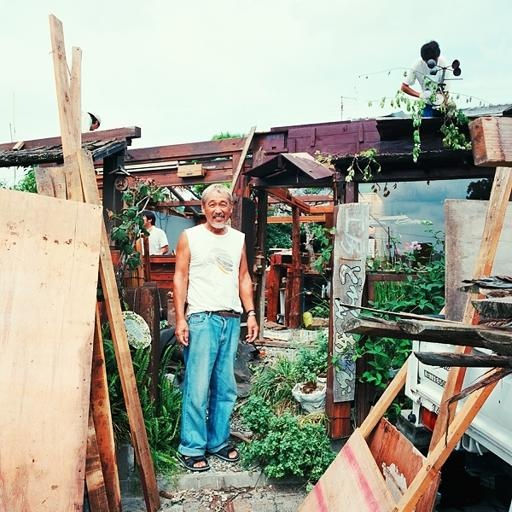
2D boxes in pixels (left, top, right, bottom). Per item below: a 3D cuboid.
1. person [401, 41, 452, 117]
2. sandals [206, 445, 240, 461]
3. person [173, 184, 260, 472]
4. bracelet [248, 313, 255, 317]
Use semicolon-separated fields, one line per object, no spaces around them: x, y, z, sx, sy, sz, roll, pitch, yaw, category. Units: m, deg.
1.767;-1.860;5.363;0.457;0.840;1.783;3;10;19;person
-0.271;1.608;4.241;0.269;0.111;0.101;-3;-2;35;sandals
-0.352;0.539;4.235;0.655;2.217;0.943;2;9;13;person
-0.038;0.496;4.389;0.029;0.029;0.030;1;6;13;bracelet
